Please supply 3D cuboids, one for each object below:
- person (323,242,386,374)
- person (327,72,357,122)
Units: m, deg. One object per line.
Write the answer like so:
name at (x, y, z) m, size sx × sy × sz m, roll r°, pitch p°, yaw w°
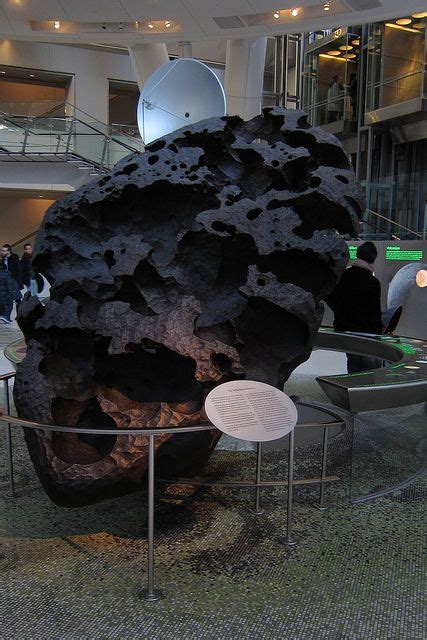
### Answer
person at (1.300, -0.287, 4.731) m, size 0.503 × 0.860 × 0.528 m, roll 1°, pitch 2°, yaw 15°
person at (4.290, -7.431, 16.979) m, size 0.999 × 1.822 × 0.708 m, roll 1°, pitch 2°, yaw 20°
